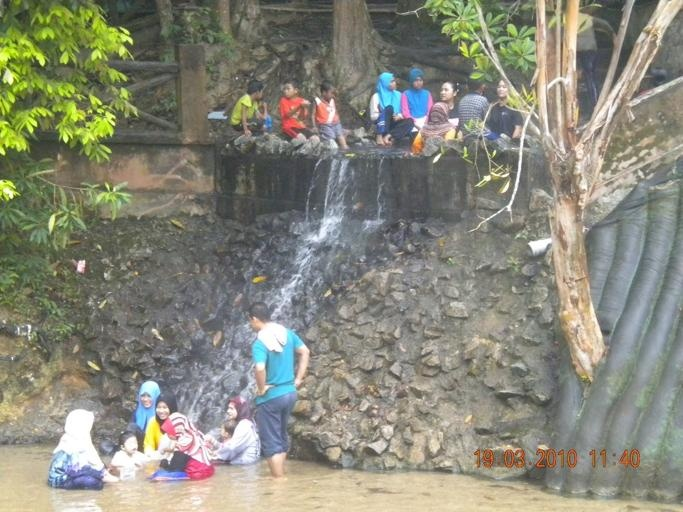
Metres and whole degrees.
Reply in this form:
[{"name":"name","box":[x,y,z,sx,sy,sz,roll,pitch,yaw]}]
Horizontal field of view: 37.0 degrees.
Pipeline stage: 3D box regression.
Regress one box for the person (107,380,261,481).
[{"name":"person","box":[-2.024,2.445,14.314,1.671,1.070,1.314,1,2,-6]}]

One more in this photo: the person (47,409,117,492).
[{"name":"person","box":[-3.466,2.511,13.384,0.726,1.032,0.285,1,2,-13]}]
